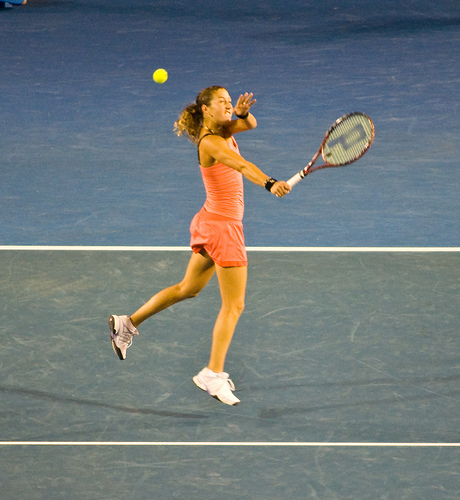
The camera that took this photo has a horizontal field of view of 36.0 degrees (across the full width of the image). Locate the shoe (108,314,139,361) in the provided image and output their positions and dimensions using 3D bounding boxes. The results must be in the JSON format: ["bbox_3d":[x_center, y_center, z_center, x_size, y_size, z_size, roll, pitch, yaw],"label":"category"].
[{"bbox_3d":[-0.728,0.604,4.777,0.118,0.326,0.176,19,15,39],"label":"shoe"}]
